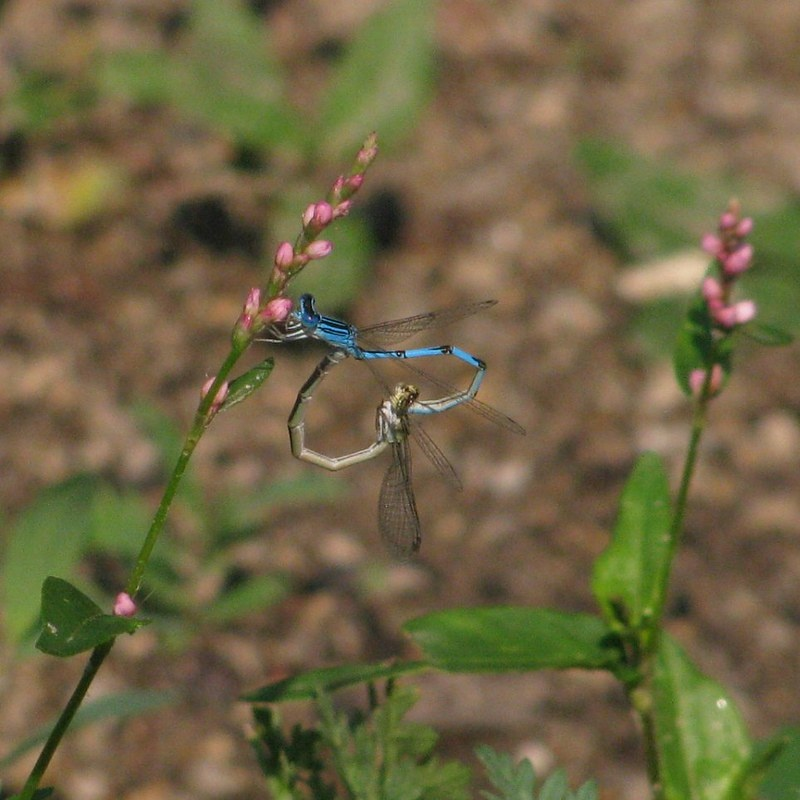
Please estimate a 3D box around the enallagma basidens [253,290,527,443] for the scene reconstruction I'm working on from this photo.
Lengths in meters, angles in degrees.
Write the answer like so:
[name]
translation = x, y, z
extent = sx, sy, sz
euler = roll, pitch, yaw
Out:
[enallagma basidens]
translation = -0.023, -0.073, 1.917
extent = 0.363, 0.109, 0.220
euler = 10, 19, -13
